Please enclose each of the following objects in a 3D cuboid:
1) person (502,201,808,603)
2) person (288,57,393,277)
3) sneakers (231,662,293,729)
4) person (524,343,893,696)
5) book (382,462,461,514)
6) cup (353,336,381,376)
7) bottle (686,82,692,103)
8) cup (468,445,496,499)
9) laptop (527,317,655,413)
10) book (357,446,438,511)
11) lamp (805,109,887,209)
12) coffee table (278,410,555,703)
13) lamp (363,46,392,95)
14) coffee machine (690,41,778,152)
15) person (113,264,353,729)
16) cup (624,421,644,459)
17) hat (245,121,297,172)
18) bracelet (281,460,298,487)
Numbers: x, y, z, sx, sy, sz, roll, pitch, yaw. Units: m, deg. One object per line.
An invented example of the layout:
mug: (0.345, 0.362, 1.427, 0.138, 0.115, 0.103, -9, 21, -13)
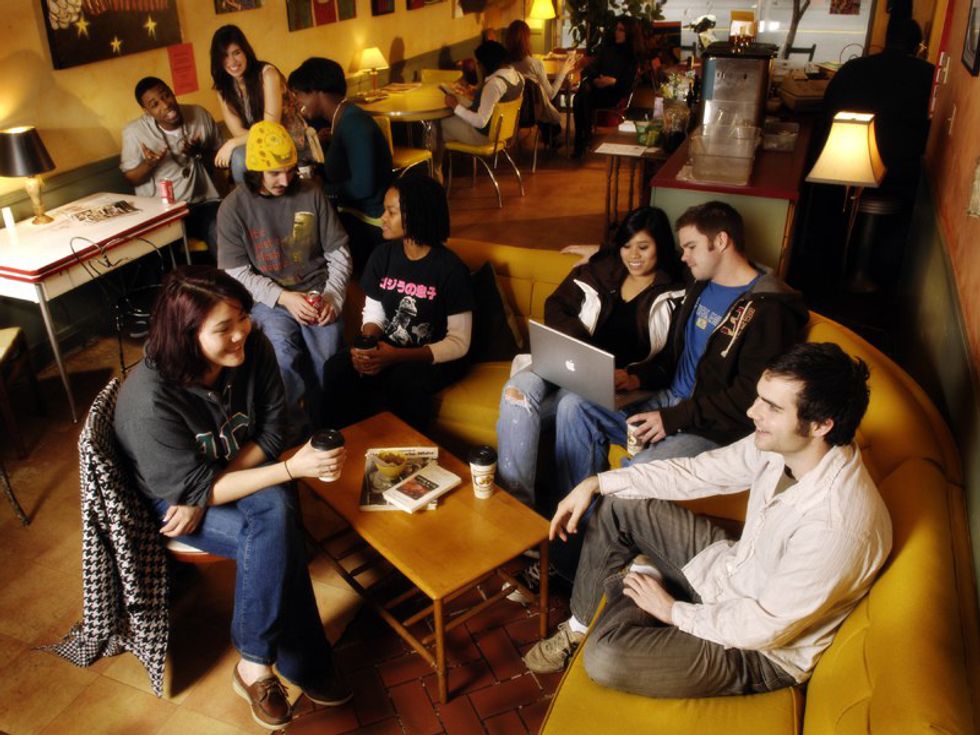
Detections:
person: (0.779, 0.099, 3.063, 1.111, 1.548, 0.752, -7, 27, 0)
person: (-1.028, -1.184, 4.585, 0.748, 1.520, 0.637, 3, 26, -4)
sneakers: (-0.767, 1.132, 2.422, 0.277, 0.116, 0.117, 28, 16, 33)
person: (0.634, 0.539, 2.170, 0.952, 1.157, 0.800, 7, 18, 18)
book: (-0.254, 0.451, 2.584, 0.151, 0.050, 0.210, 21, 37, 35)
cup: (-0.587, -0.043, 3.290, 0.086, 0.170, 0.123, 8, -8, -31)
bottle: (1.451, -1.997, 5.070, 0.042, 0.090, 0.369, 6, 29, 14)
cup: (-0.026, 0.402, 2.589, 0.108, 0.160, 0.109, -1, 11, 0)
laptop: (0.412, -0.066, 2.897, 0.477, 0.338, 0.335, 26, 43, 37)
book: (-0.365, 0.410, 2.676, 0.212, 0.032, 0.241, 1, 40, -1)
lamp: (1.878, -1.087, 3.635, 0.368, 0.541, 0.386, 16, 38, 29)
coffee table: (-0.323, 0.718, 2.809, 0.549, 0.556, 1.067, -21, 33, -38)
lamp: (-1.164, -3.044, 6.976, 0.181, 0.313, 0.185, 2, -15, 4)
coffee machine: (1.455, -1.641, 4.128, 0.413, 0.670, 0.412, 20, 54, 26)
person: (-0.822, 0.437, 2.382, 0.574, 1.439, 0.741, -24, 35, -37)
cup: (0.596, 0.304, 2.859, 0.075, 0.130, 0.075, -5, 38, 4)
hat: (-1.118, -1.132, 3.510, 0.198, 0.228, 0.266, -22, 44, -20)
bracelet: (-0.682, 0.366, 2.388, 0.020, 0.078, 0.076, -13, -9, -19)
